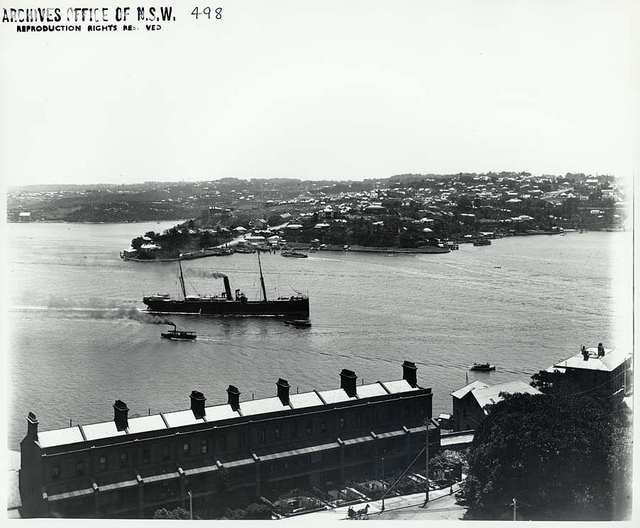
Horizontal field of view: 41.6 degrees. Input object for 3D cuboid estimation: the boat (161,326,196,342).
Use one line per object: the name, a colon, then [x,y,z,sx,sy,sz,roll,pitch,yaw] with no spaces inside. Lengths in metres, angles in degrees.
boat: [-2.346,1.174,13.983,0.576,0.158,0.559,-3,5,-11]

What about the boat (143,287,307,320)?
boat: [-1.799,0.784,16.201,3.581,0.927,0.547,-1,0,11]

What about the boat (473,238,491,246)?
boat: [4.700,-0.601,24.453,0.506,0.139,0.647,-1,6,17]

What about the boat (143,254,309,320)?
boat: [-1.612,0.431,16.348,3.601,1.409,1.146,-1,1,13]

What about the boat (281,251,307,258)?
boat: [-0.707,-0.238,23.539,0.906,0.256,0.242,2,4,40]

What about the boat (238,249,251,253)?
boat: [-2.200,-0.363,24.415,0.354,0.086,0.220,-4,5,-13]

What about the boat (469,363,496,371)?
boat: [2.235,1.409,11.500,0.277,0.088,0.149,-3,0,7]
